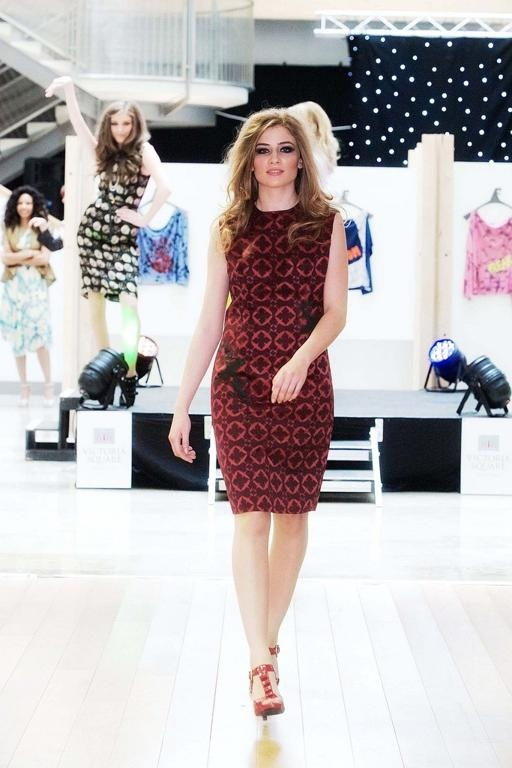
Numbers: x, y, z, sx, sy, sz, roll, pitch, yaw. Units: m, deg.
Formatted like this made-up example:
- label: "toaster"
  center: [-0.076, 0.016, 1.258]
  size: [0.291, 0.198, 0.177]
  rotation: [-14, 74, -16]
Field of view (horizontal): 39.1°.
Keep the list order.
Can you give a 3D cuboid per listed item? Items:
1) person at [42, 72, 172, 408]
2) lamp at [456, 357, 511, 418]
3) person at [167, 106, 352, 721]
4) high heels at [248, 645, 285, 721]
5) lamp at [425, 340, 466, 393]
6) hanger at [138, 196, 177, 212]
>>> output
- label: "person"
  center: [-0.800, -0.765, 4.087]
  size: [0.607, 1.737, 0.455]
  rotation: [-4, 8, -16]
- label: "lamp"
  center: [1.292, -0.007, 3.976]
  size: [0.313, 0.406, 0.314]
  rotation: [-4, 5, 30]
- label: "person"
  center: [-0.023, 0.000, 1.418]
  size: [0.351, 1.107, 0.413]
  rotation: [1, 9, 17]
- label: "high heels"
  center: [0.019, 0.552, 1.335]
  size: [0.049, 0.060, 0.150]
  rotation: [-3, -8, -1]
- label: "lamp"
  center: [1.272, -0.098, 4.724]
  size: [0.302, 0.342, 0.303]
  rotation: [6, 15, 39]
- label: "hanger"
  center: [-0.791, -1.420, 5.738]
  size: [0.239, 0.112, 0.241]
  rotation: [-3, 5, -6]
